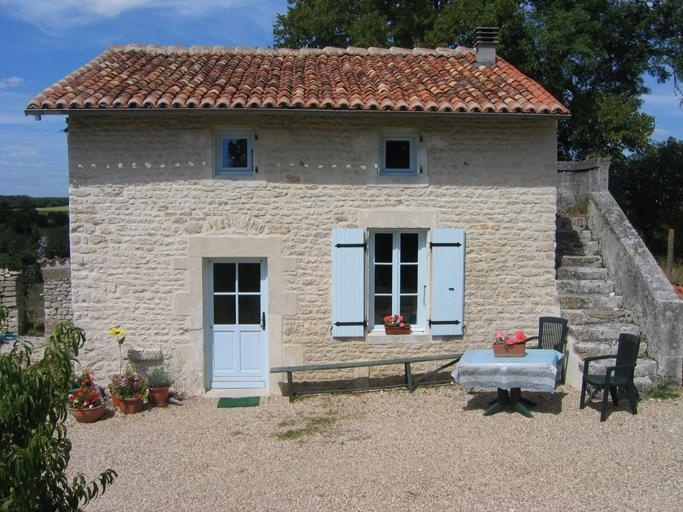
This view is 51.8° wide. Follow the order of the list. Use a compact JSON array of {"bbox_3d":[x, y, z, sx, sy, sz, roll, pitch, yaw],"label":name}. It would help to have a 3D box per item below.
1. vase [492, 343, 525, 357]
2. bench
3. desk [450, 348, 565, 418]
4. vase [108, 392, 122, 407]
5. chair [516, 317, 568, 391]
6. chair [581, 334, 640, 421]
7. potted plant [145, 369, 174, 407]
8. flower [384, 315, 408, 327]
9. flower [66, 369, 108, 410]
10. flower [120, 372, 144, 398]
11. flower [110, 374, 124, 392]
[{"bbox_3d":[2.441,1.389,10.287,0.330,0.136,0.218,0,-2,4],"label":"vase"},{"bbox_3d":[0.375,1.945,11.339,3.022,0.501,0.612,-2,1,-4],"label":"bench"},{"bbox_3d":[2.474,1.702,10.535,1.277,0.716,1.070,0,7,13],"label":"desk"},{"bbox_3d":[-3.539,2.256,10.976,0.245,0.198,0.246,3,-3,-29],"label":"vase"},{"bbox_3d":[3.207,1.586,11.201,0.730,1.042,0.648,-8,8,-36],"label":"chair"},{"bbox_3d":[3.949,1.798,10.511,0.859,1.157,0.852,3,4,43],"label":"chair"},{"bbox_3d":[-2.885,2.087,11.134,0.501,0.704,0.502,-1,-3,-8],"label":"potted plant"},{"bbox_3d":[0.857,1.075,11.521,0.227,0.152,0.212,2,1,-2],"label":"flower"},{"bbox_3d":[-3.928,2.053,10.853,0.535,0.559,0.543,-2,1,-7],"label":"flower"},{"bbox_3d":[-3.315,2.042,10.973,0.373,0.402,0.366,-2,8,-44],"label":"flower"},{"bbox_3d":[-3.529,2.008,11.020,0.233,0.284,0.206,4,-19,-23],"label":"flower"}]
